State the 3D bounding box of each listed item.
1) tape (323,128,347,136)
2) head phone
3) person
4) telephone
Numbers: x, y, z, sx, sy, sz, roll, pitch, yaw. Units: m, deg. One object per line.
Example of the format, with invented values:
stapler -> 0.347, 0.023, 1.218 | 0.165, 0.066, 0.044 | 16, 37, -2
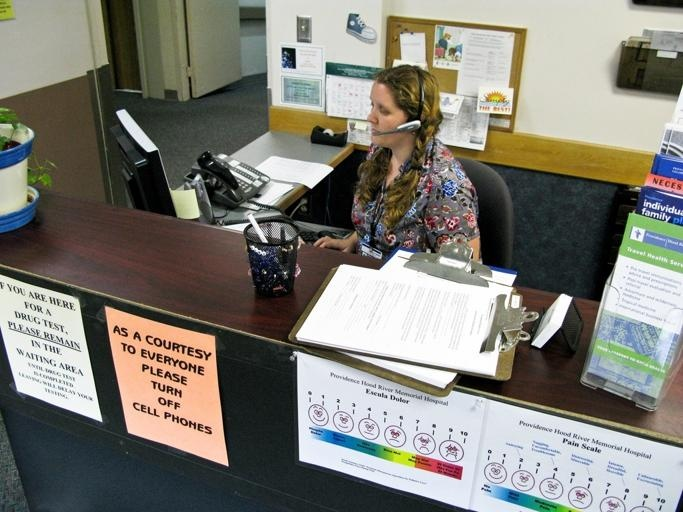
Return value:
tape -> -0.043, -0.659, 2.874 | 0.076, 0.024, 0.075 | 6, 25, 6
head phone -> 0.218, -0.592, 2.081 | 0.195, 0.256, 0.190 | 4, 28, 4
person -> 0.247, -0.417, 2.235 | 0.442, 0.755, 0.785 | -6, 23, -18
telephone -> -0.477, -0.329, 2.251 | 0.270, 0.167, 0.329 | 18, 40, 4
